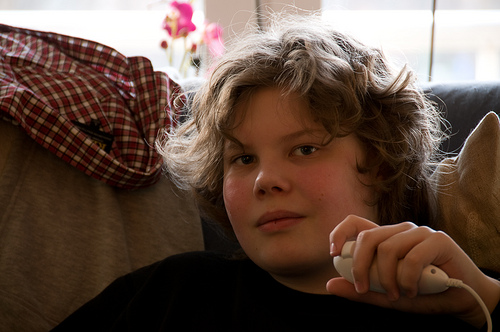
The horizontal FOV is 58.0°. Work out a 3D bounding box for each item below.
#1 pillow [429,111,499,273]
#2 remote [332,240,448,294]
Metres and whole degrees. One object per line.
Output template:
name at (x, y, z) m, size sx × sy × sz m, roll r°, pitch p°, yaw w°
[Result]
pillow at (0.513, 0.054, 1.061) m, size 0.091 × 0.297 × 0.288 m, roll 2°, pitch -5°, yaw -23°
remote at (0.284, 0.205, 0.951) m, size 0.217 × 0.094 × 0.101 m, roll 13°, pitch 65°, yaw 18°
